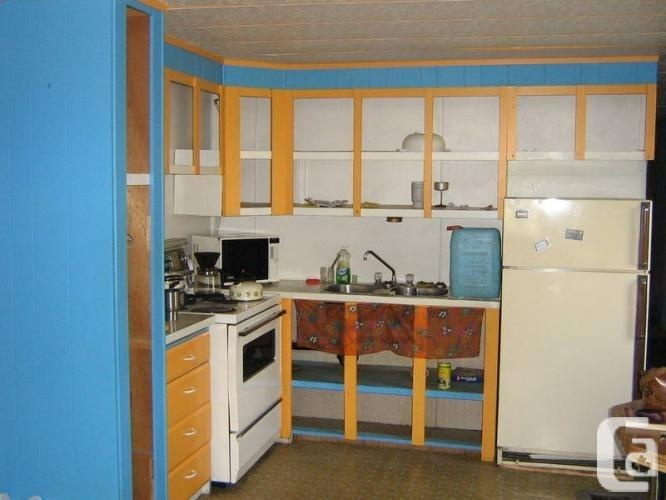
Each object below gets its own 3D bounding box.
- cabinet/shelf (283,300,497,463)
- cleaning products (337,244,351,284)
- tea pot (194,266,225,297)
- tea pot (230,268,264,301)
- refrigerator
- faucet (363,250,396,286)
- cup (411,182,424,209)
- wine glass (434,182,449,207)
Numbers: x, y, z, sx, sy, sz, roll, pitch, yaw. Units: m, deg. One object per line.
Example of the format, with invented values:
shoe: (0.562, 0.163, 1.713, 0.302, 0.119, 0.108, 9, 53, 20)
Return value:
cabinet/shelf: (0.384, 0.949, 5.230, 1.697, 1.070, 0.560, -1, 1, 5)
cleaning products: (0.094, 0.122, 5.576, 0.136, 0.266, 0.322, 0, 15, 0)
tea pot: (-0.937, 0.250, 5.035, 0.208, 0.190, 0.167, 1, 2, 7)
tea pot: (-0.624, 0.255, 4.951, 0.229, 0.203, 0.234, 1, -1, 0)
refrigerator: (1.702, 0.537, 4.752, 0.985, 1.771, 0.403, 2, 15, 10)
faucet: (0.392, 0.133, 5.559, 0.318, 0.262, 0.232, 4, 15, 14)
cup: (0.663, -0.427, 5.201, 0.089, 0.197, 0.096, 0, 15, 0)
wine glass: (0.863, -0.454, 5.318, 0.124, 0.205, 0.294, 2, 15, 10)
